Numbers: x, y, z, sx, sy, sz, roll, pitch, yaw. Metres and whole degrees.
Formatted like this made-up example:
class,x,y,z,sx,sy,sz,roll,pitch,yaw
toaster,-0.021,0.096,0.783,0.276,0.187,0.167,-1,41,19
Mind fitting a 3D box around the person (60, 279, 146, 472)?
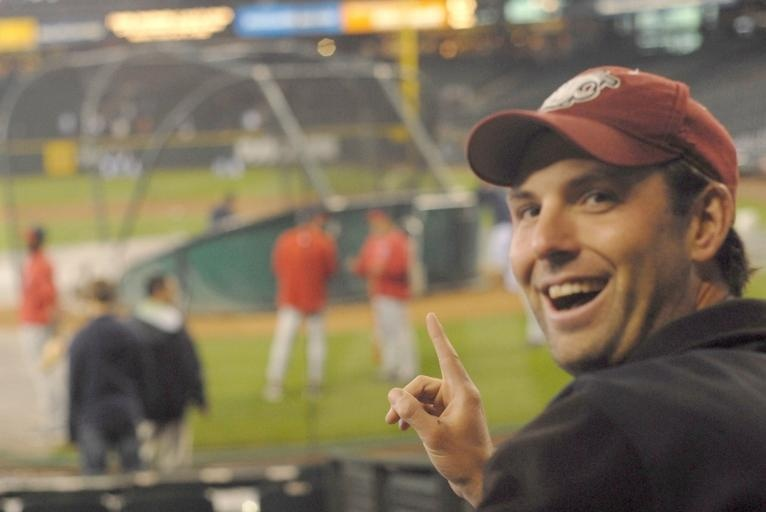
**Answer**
class,x,y,z,sx,sy,sz,roll,pitch,yaw
person,-0.952,0.441,6.145,0.279,0.757,0.238,-9,26,-21
